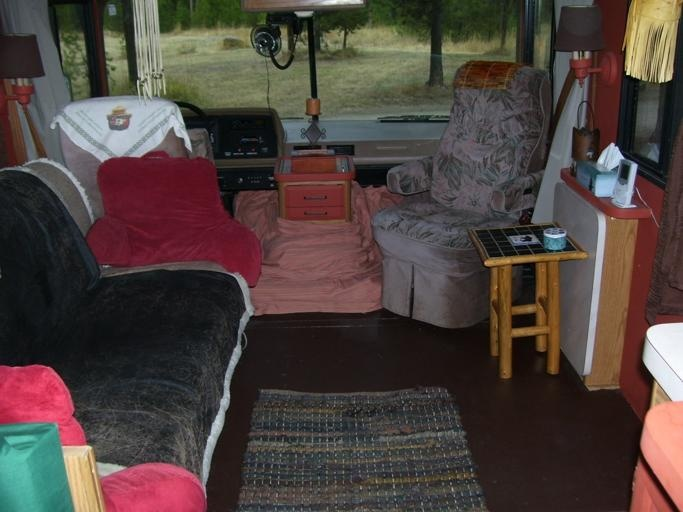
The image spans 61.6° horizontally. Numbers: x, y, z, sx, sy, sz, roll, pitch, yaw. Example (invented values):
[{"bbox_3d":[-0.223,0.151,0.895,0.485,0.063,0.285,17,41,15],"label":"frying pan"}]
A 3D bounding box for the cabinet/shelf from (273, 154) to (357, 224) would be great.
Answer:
[{"bbox_3d":[-0.180,-0.404,4.201,0.527,0.363,0.564,-1,2,2],"label":"cabinet/shelf"}]

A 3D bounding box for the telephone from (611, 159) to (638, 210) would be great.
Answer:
[{"bbox_3d":[1.276,-0.334,2.570,0.088,0.203,0.178,8,23,27],"label":"telephone"}]

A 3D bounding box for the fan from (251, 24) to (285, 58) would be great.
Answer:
[{"bbox_3d":[-0.609,-1.721,4.616,0.158,0.049,0.168,27,60,-11],"label":"fan"}]

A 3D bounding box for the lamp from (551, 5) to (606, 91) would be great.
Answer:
[{"bbox_3d":[1.237,-1.073,2.906,0.315,0.373,0.189,-12,22,-25],"label":"lamp"}]

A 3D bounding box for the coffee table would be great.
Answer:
[{"bbox_3d":[0.935,0.195,3.000,0.481,0.740,0.472,-2,20,1],"label":"coffee table"}]

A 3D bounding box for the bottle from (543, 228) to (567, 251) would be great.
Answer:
[{"bbox_3d":[1.045,-0.092,2.779,0.101,0.080,0.104,-4,31,2],"label":"bottle"}]

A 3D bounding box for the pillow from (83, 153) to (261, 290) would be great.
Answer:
[{"bbox_3d":[-0.985,-0.233,3.168,0.765,0.278,0.797,2,45,-17],"label":"pillow"}]

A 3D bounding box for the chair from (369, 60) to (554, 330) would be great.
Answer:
[{"bbox_3d":[0.756,-0.425,3.613,1.115,1.425,0.945,-19,27,-32],"label":"chair"}]

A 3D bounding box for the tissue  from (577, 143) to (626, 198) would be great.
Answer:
[{"bbox_3d":[1.242,-0.423,2.787,0.109,0.201,0.205,5,13,-4],"label":"tissue "}]
